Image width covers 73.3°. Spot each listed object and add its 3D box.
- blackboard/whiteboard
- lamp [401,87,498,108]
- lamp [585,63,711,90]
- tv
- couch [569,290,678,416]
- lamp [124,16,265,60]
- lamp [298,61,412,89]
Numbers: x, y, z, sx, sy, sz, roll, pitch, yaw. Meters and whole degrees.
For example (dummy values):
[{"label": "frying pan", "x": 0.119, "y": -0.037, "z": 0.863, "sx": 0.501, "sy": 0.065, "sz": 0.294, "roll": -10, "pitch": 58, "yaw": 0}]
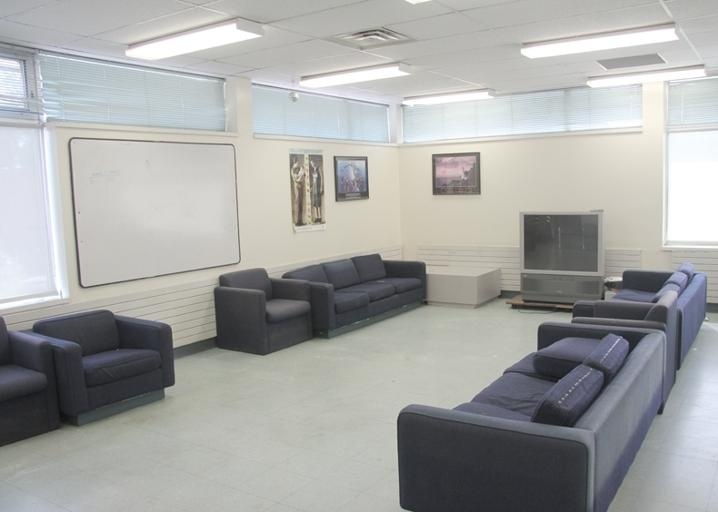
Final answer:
[{"label": "blackboard/whiteboard", "x": -2.804, "y": -0.565, "z": 6.380, "sx": 0.033, "sy": 1.550, "sz": 2.245, "roll": 1, "pitch": 5, "yaw": 39}, {"label": "lamp", "x": 1.680, "y": -2.979, "z": 9.044, "sx": 1.639, "sy": 0.146, "sz": 0.508, "roll": 1, "pitch": 9, "yaw": 20}, {"label": "lamp", "x": 4.723, "y": -2.764, "z": 7.684, "sx": 1.319, "sy": 0.086, "sz": 0.211, "roll": 3, "pitch": -2, "yaw": 37}, {"label": "tv", "x": 3.633, "y": -0.226, "z": 8.428, "sx": 1.198, "sy": 0.933, "sz": 0.383, "roll": 1, "pitch": 6, "yaw": 26}, {"label": "couch", "x": 2.896, "y": 1.035, "z": 5.299, "sx": 1.225, "sy": 1.240, "sz": 1.190, "roll": 1, "pitch": 3, "yaw": 31}, {"label": "lamp", "x": -1.809, "y": -2.351, "z": 5.255, "sx": 1.751, "sy": 0.111, "sz": 0.398, "roll": 3, "pitch": 10, "yaw": 29}, {"label": "lamp", "x": -0.090, "y": -2.679, "z": 7.160, "sx": 1.729, "sy": 0.109, "sz": 0.476, "roll": 3, "pitch": 10, "yaw": 32}]
